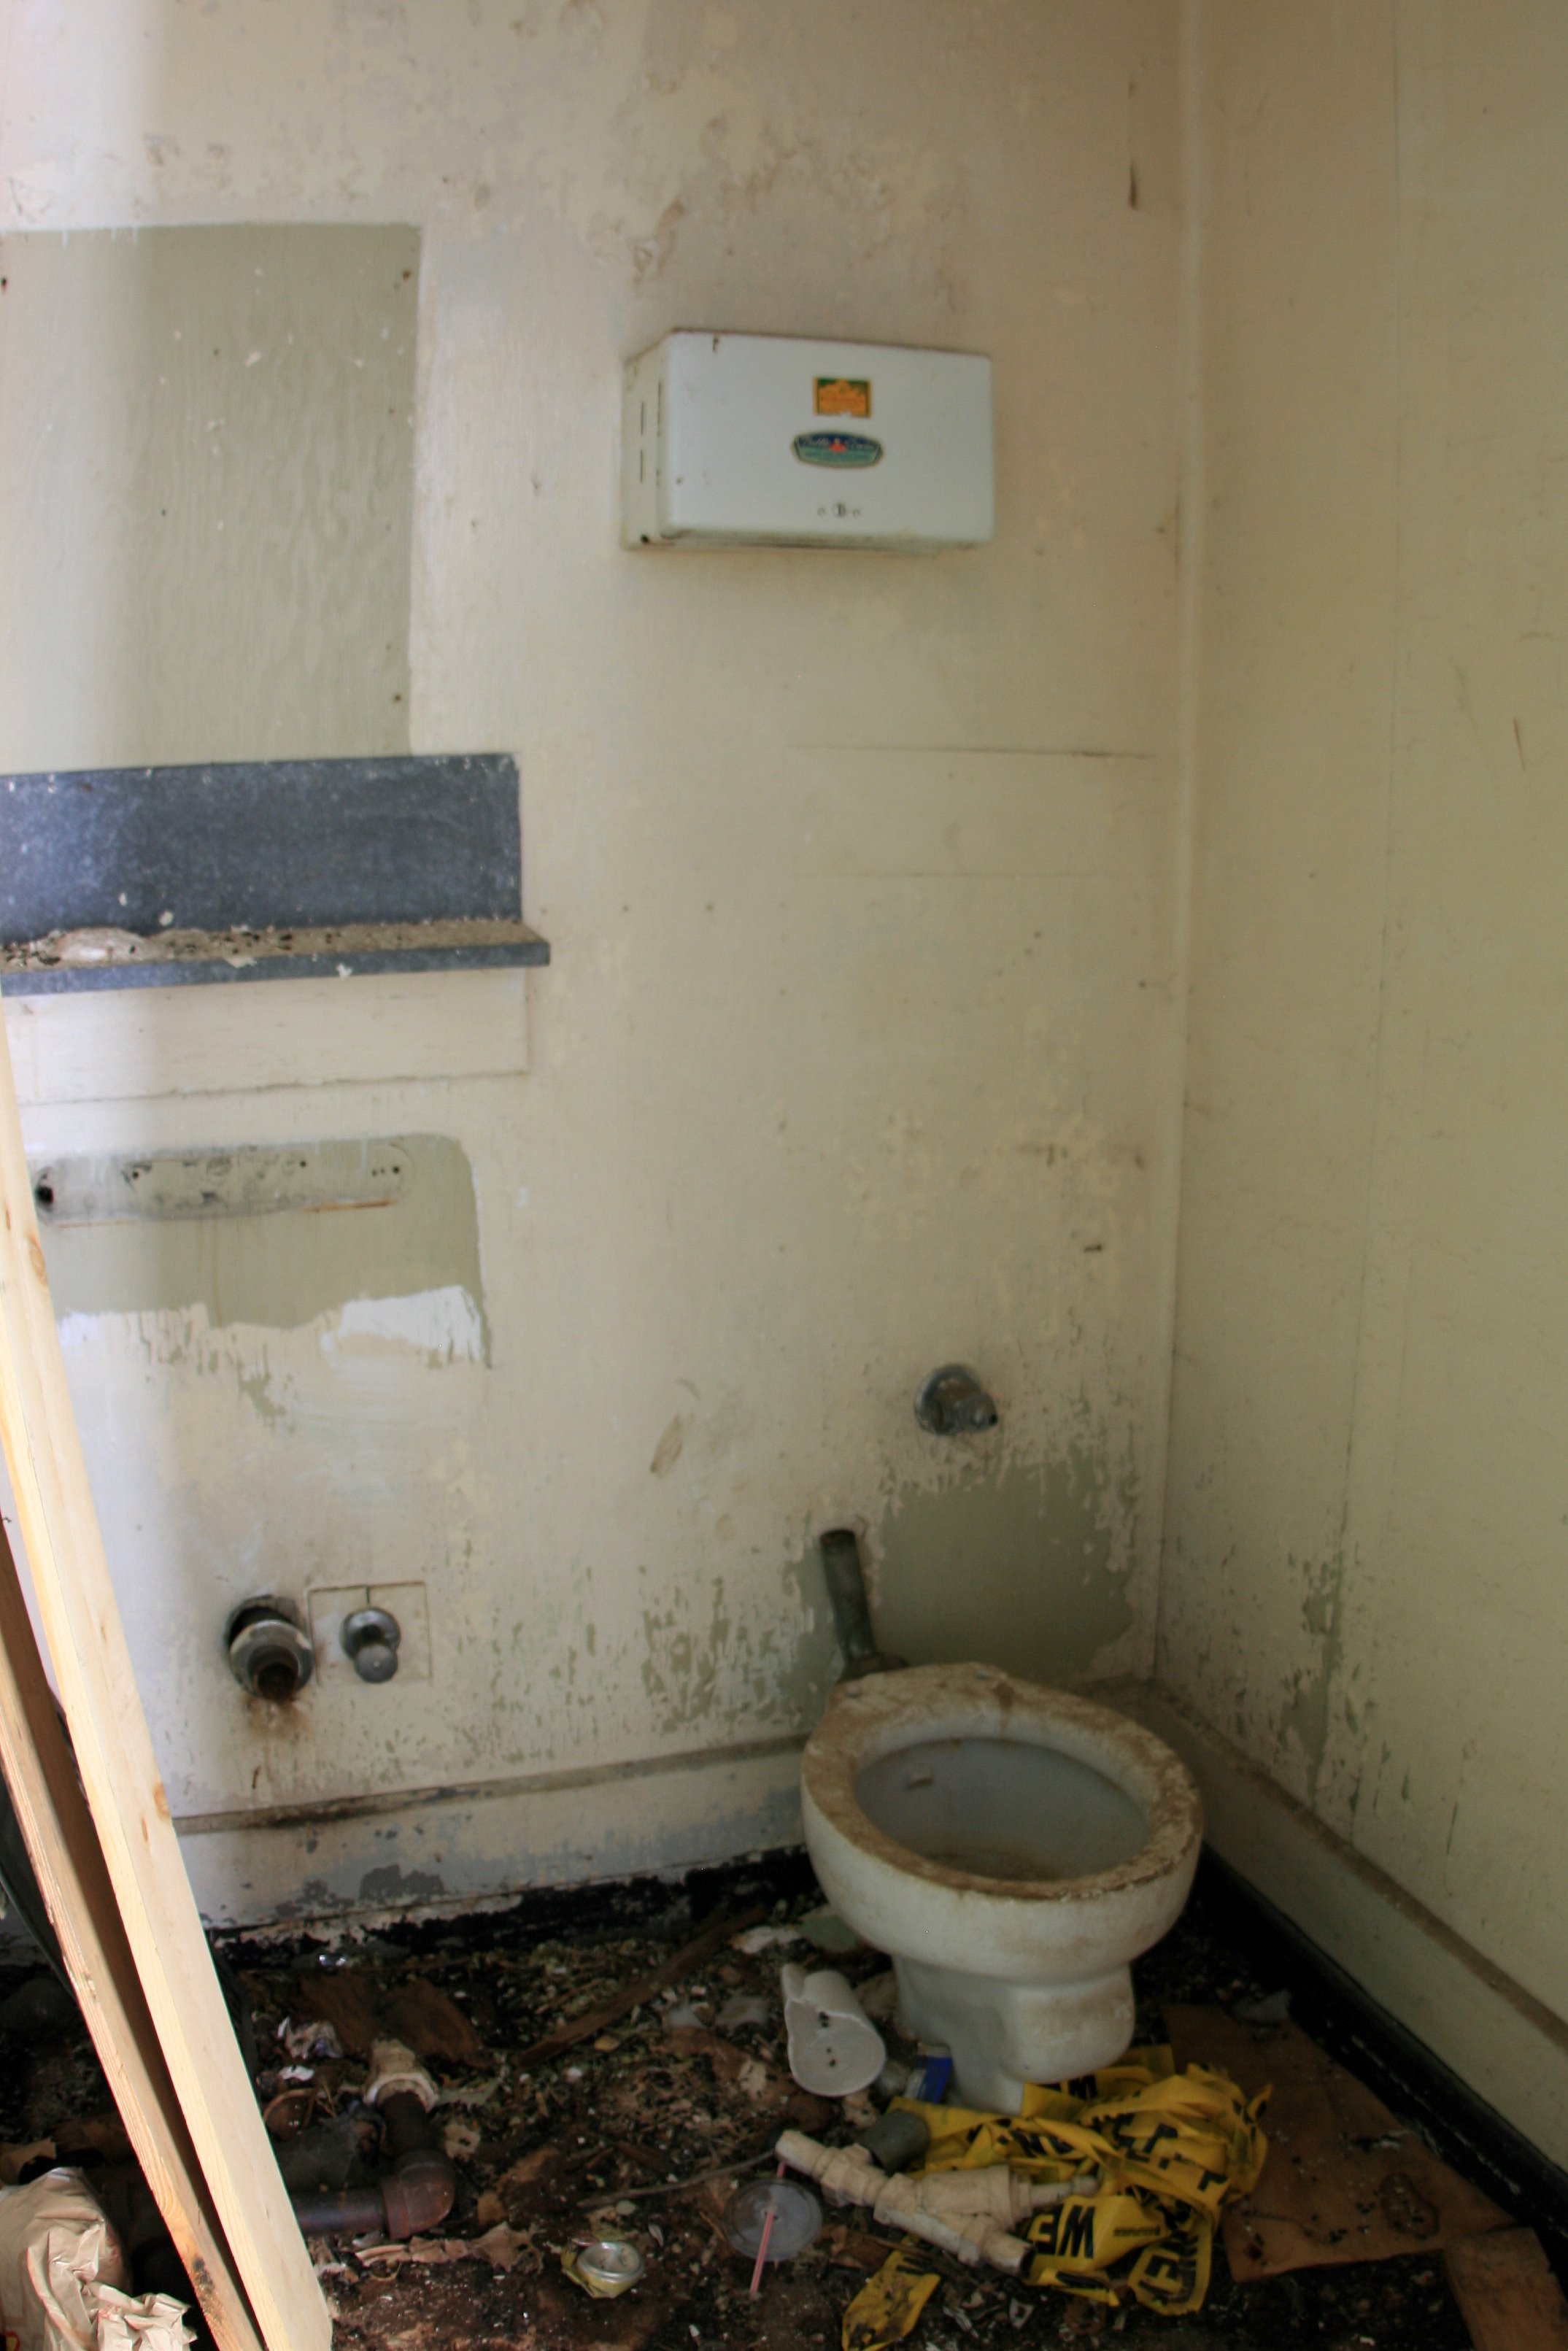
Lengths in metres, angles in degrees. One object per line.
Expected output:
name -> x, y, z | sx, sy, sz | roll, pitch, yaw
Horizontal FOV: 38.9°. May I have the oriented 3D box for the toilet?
toilet -> 0.181, 0.677, 2.042 | 0.319, 0.301, 0.383 | -3, 17, -17
